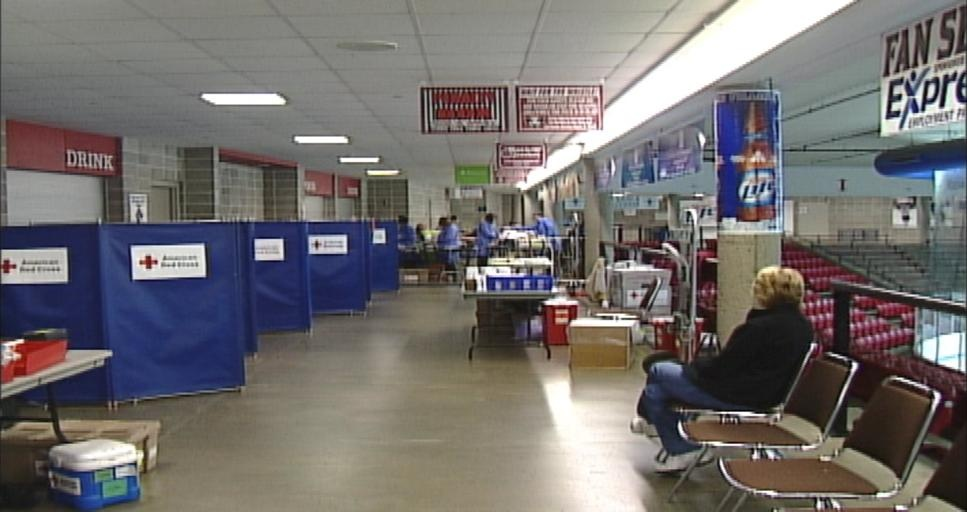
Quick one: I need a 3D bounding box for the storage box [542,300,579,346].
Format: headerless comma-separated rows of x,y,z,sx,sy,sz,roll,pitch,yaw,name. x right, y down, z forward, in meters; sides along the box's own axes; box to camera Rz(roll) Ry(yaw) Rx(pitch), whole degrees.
1.354,1.132,13.528,0.827,0.851,0.972,-1,2,5,storage box

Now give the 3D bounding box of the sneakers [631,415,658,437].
2.027,2.189,9.432,0.384,0.145,0.190,8,35,-14,sneakers

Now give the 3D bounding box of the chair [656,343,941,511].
3.682,2.070,8.500,2.320,1.280,1.439,-1,-2,2,chair

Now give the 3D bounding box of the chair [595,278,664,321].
2.642,0.836,13.448,1.154,0.631,1.051,1,-4,6,chair

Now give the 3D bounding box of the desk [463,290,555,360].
0.411,1.225,13.440,1.298,0.759,1.347,0,4,2,desk

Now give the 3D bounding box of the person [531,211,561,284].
1.886,-0.541,21.802,0.804,1.701,0.602,-10,19,-2,person
